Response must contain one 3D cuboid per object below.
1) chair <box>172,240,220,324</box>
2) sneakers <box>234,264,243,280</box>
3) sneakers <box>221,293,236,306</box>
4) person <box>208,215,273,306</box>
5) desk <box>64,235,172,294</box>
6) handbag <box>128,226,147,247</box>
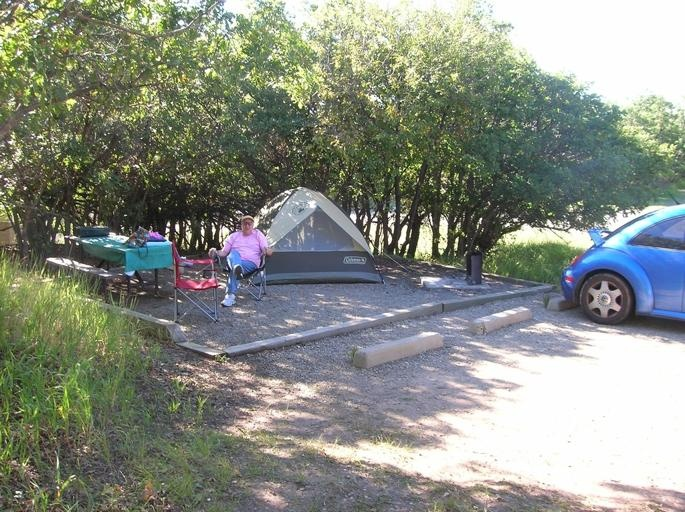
[{"bbox_3d":[-2.395,0.410,8.262,0.905,1.314,0.925,3,6,9],"label":"chair"},{"bbox_3d":[-1.878,0.300,9.177,0.117,0.269,0.104,2,36,-8],"label":"sneakers"},{"bbox_3d":[-2.060,0.789,9.182,0.211,0.194,0.452,2,9,-4],"label":"sneakers"},{"bbox_3d":[-1.928,0.055,9.760,1.082,1.802,1.399,2,-2,4],"label":"person"},{"bbox_3d":[-4.090,0.118,9.435,0.996,1.030,2.373,-5,12,-44],"label":"desk"},{"bbox_3d":[-3.575,-0.337,8.800,0.316,0.300,0.523,0,9,-22],"label":"handbag"}]
